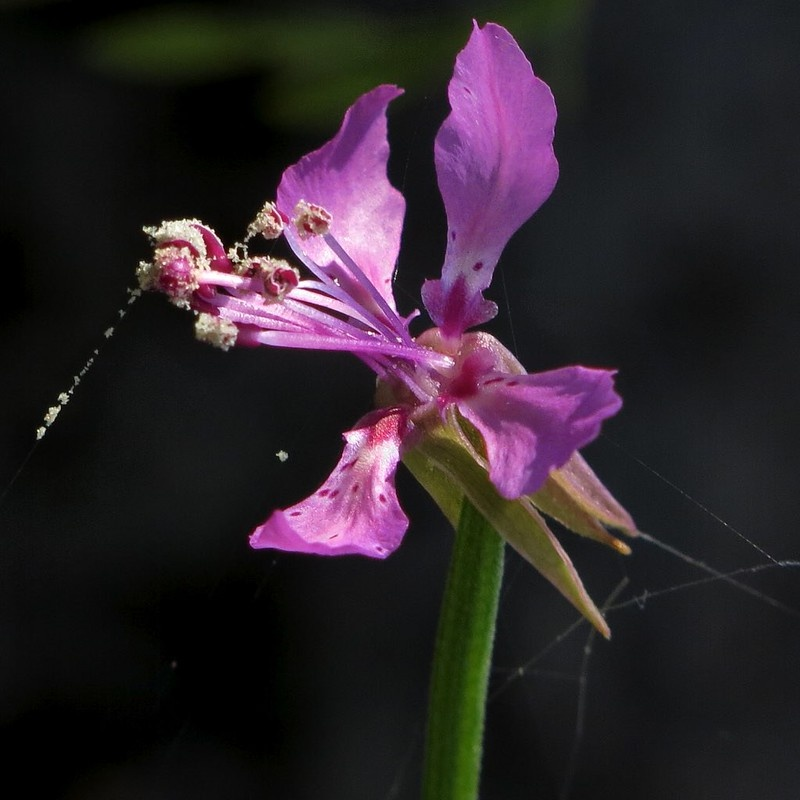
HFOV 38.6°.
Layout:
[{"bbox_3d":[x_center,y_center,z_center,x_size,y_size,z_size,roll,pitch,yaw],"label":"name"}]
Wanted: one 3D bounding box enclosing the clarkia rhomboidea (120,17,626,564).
[{"bbox_3d":[-0.003,-0.120,1.139,0.338,0.512,0.478,-8,18,-42],"label":"clarkia rhomboidea"}]
